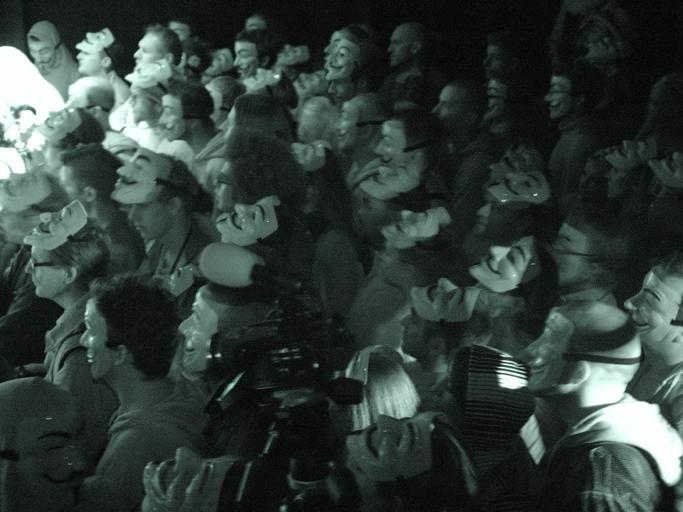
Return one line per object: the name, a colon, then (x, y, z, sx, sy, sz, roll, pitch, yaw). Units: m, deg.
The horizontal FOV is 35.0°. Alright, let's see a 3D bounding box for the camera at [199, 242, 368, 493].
camera: (-0.256, 0.416, 4.240, 0.567, 0.818, 0.750, -4, 14, -7)
